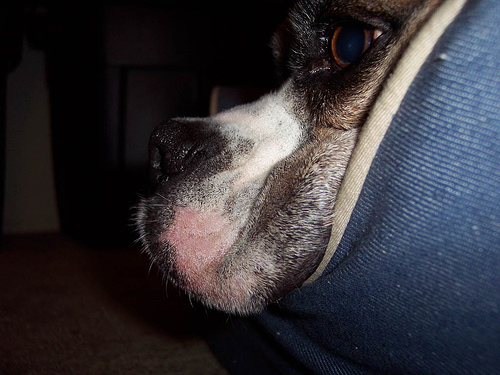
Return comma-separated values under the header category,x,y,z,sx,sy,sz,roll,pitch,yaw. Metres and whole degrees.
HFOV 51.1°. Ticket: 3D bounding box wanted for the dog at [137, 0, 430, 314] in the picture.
category,x,y,z,sx,sy,sz,roll,pitch,yaw
dog,0.042,-0.085,1.120,0.531,0.664,0.259,13,15,16
